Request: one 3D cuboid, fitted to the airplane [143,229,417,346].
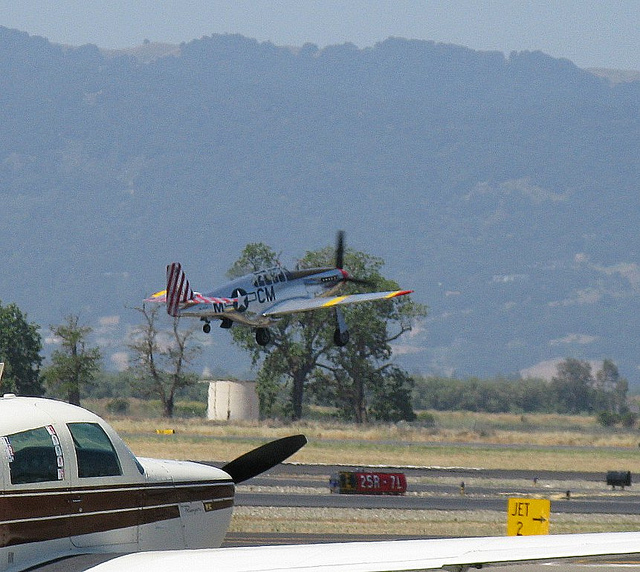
[{"bbox_3d":[-17.600,1.920,502.268,65.877,33.049,43.428,-1,-2,-23],"label":"airplane"}]
